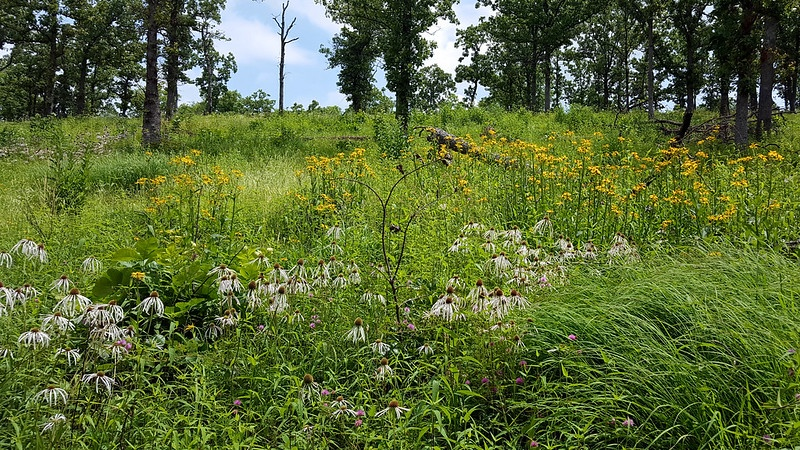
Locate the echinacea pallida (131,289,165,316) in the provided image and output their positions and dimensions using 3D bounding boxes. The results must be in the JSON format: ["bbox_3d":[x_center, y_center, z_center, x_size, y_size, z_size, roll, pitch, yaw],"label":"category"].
[{"bbox_3d":[-7.551,2.415,20.950,0.828,0.536,0.846,11,-1,-9],"label":"echinacea pallida"}]

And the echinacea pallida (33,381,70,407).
[{"bbox_3d":[-10.374,5.029,20.359,0.980,0.789,0.514,1,10,-1],"label":"echinacea pallida"}]

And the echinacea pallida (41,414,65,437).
[{"bbox_3d":[-10.214,5.817,20.263,0.564,0.181,0.597,22,54,38],"label":"echinacea pallida"}]

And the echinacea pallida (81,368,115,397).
[{"bbox_3d":[-8.997,4.694,20.485,0.969,0.922,0.659,1,10,-1],"label":"echinacea pallida"}]
